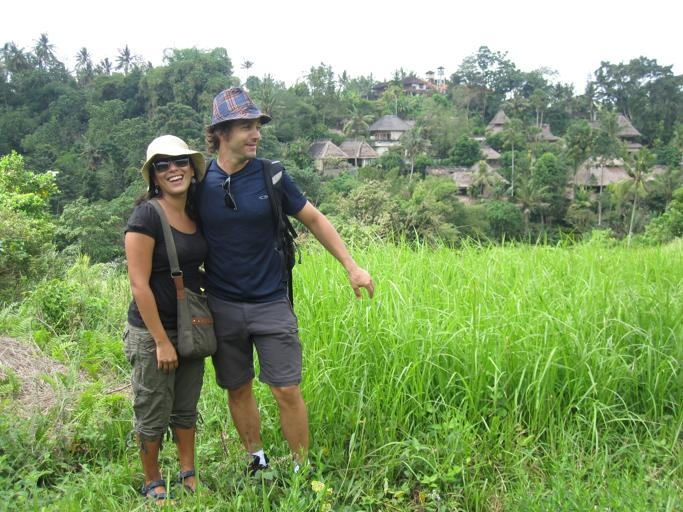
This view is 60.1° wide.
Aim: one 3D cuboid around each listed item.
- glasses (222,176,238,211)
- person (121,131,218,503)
[{"bbox_3d":[-0.753,-0.425,3.983,0.065,0.229,0.082,-3,0,-35],"label":"glasses"},{"bbox_3d":[-1.131,0.357,3.894,0.580,2.477,0.433,-3,0,-21],"label":"person"}]
